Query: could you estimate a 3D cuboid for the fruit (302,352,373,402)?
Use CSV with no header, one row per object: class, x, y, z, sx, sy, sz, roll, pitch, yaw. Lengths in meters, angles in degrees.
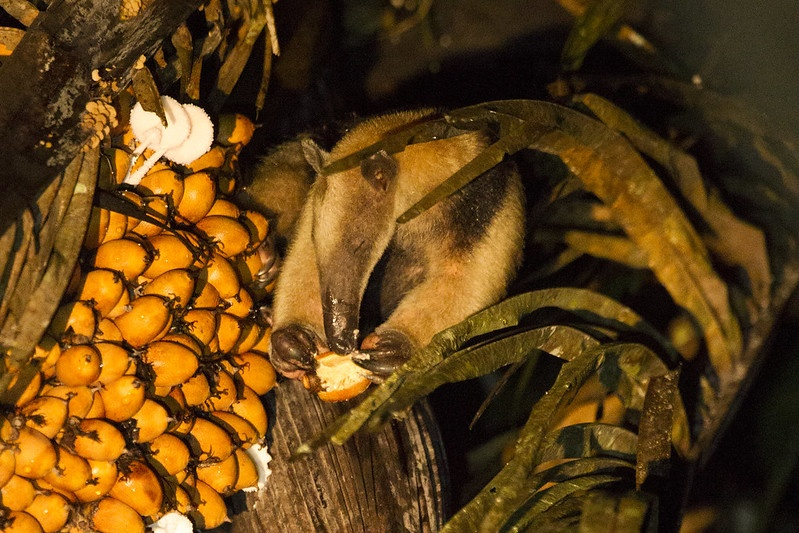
fruit,-0.177,0.315,3.766,0.168,0.126,0.128,34,25,5
